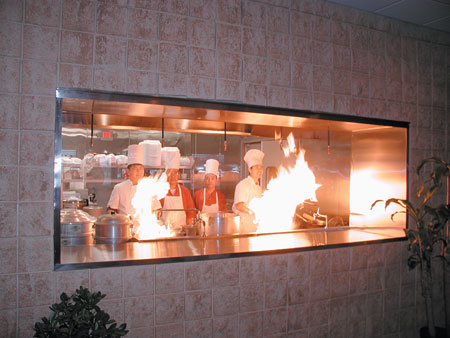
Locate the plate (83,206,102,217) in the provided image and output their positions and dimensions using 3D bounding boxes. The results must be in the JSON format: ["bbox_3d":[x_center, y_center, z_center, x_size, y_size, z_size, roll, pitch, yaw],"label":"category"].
[{"bbox_3d":[-1.523,0.475,4.807,0.158,0.068,0.165,6,4,3],"label":"plate"}]

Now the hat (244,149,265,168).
[{"bbox_3d":[0.327,-0.124,4.724,0.216,0.149,0.206,6,-9,-35],"label":"hat"}]

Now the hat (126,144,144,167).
[{"bbox_3d":[-0.967,-0.150,4.633,0.192,0.219,0.198,4,6,40],"label":"hat"}]

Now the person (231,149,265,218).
[{"bbox_3d":[0.259,0.177,4.620,0.317,0.765,0.566,5,14,3],"label":"person"}]

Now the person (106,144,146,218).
[{"bbox_3d":[-1.075,0.129,4.490,0.266,0.766,0.513,10,15,23],"label":"person"}]

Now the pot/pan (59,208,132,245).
[{"bbox_3d":[-0.968,0.432,3.190,0.482,0.221,0.253,2,-3,-13],"label":"pot/pan"}]

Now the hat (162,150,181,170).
[{"bbox_3d":[-0.586,-0.098,4.840,0.171,0.210,0.208,5,7,33],"label":"hat"}]

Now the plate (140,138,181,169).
[{"bbox_3d":[-0.741,-0.171,4.752,0.339,0.249,0.349,-1,1,-19],"label":"plate"}]

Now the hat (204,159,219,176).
[{"bbox_3d":[-0.160,-0.022,5.228,0.153,0.225,0.164,2,14,-8],"label":"hat"}]
